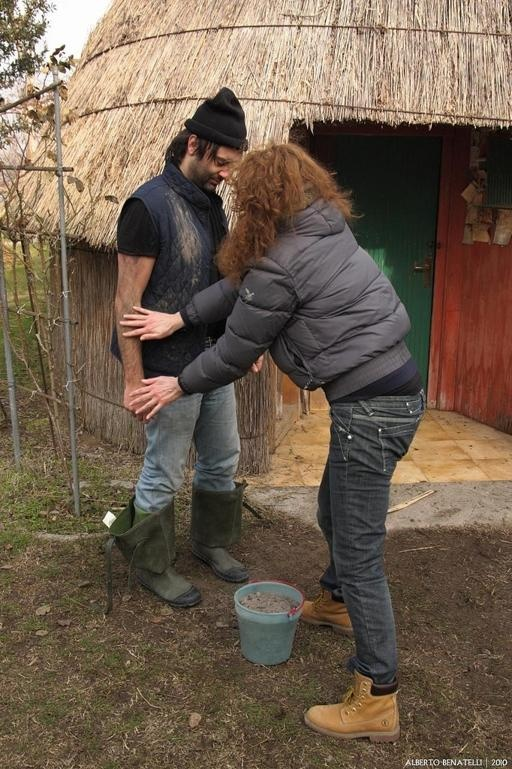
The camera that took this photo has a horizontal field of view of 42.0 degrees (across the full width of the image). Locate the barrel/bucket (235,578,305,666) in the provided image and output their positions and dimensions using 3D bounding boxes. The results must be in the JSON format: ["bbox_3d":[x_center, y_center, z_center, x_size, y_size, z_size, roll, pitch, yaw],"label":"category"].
[{"bbox_3d":[0.035,0.850,2.357,0.246,0.207,0.269,-2,7,0],"label":"barrel/bucket"}]

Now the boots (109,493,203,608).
[{"bbox_3d":[-0.417,0.696,2.710,0.364,0.384,0.288,3,15,28],"label":"boots"}]

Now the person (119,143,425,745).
[{"bbox_3d":[0.151,0.173,1.993,0.667,1.728,0.371,5,13,15],"label":"person"}]

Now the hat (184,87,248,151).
[{"bbox_3d":[-0.114,-0.954,2.364,0.240,0.177,0.206,15,23,-14],"label":"hat"}]
